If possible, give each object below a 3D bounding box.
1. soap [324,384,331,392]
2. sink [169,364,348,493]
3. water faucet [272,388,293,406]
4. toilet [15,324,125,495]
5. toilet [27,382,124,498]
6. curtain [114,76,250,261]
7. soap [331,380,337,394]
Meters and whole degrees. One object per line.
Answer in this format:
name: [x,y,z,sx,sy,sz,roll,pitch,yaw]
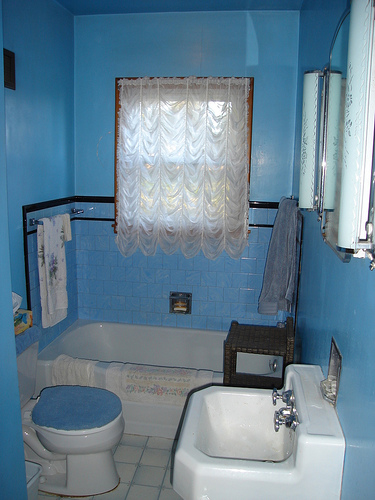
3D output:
soap: [0.418,0.414,1.210,0.007,0.011,0.032,-3,12,-15]
sink: [0.216,0.535,1.152,0.316,0.306,0.433,3,11,8]
water faucet: [0.297,0.462,1.280,0.060,0.092,0.055,2,10,10]
toilet: [-0.622,0.846,2.147,0.568,0.840,0.370,3,10,18]
toilet: [-0.582,0.975,2.188,0.436,0.461,0.404,2,11,7]
curtain: [-0.050,-0.593,3.063,1.033,1.361,0.152,2,9,12]
soap: [0.431,0.401,1.191,0.006,0.030,0.026,7,44,8]
